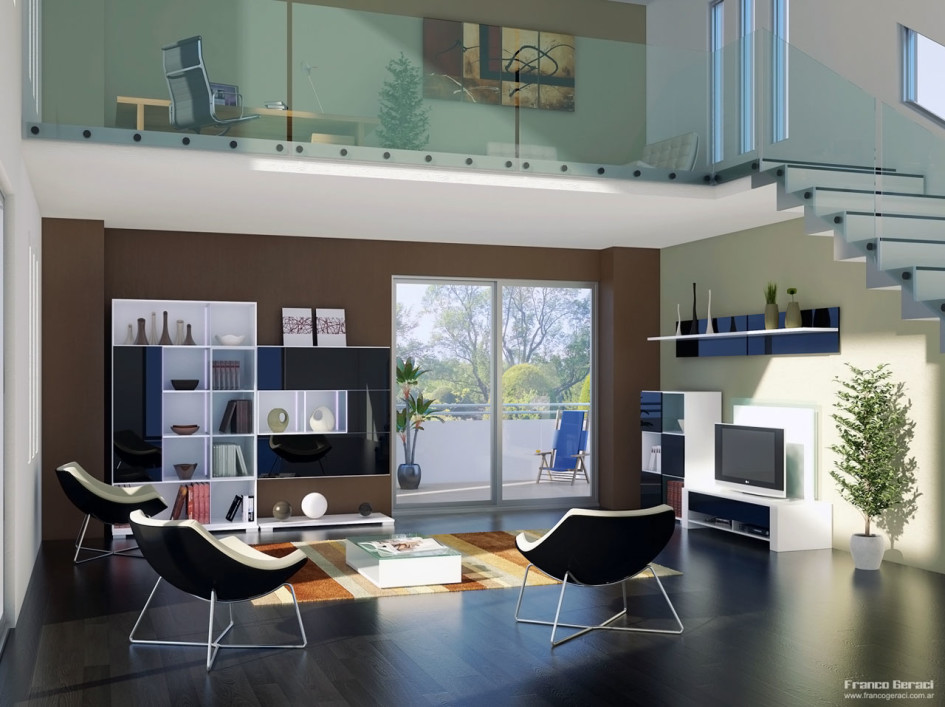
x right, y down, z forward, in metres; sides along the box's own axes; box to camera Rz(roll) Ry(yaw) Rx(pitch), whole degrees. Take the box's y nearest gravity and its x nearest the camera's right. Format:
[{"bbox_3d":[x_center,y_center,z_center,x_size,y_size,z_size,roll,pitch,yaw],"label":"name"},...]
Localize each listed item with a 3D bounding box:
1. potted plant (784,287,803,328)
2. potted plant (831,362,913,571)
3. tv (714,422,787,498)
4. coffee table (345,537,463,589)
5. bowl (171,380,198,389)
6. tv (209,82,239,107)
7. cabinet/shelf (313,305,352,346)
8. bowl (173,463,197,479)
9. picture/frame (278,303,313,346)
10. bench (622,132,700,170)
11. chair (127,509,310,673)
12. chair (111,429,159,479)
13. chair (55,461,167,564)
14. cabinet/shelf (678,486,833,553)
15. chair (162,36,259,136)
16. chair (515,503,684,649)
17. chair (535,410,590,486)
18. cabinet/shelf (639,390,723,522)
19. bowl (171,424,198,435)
[{"bbox_3d":[3.516,-0.498,8.980,0.172,0.442,0.451,-1,4,21],"label":"potted plant"},{"bbox_3d":[3.925,1.111,8.158,0.677,1.967,0.731,-3,4,-10],"label":"potted plant"},{"bbox_3d":[3.129,1.215,9.110,0.077,0.631,0.780,4,-4,-34],"label":"tv"},{"bbox_3d":[-0.639,1.915,7.522,1.081,0.375,0.696,-3,3,4],"label":"coffee table"},{"bbox_3d":[-3.382,0.372,9.638,0.301,0.144,0.285,-3,3,0],"label":"bowl"},{"bbox_3d":[-2.274,-2.367,7.488,0.239,0.265,0.250,1,0,-24],"label":"tv"},{"bbox_3d":[-1.781,-0.348,10.242,0.420,0.668,0.210,2,-12,-20],"label":"cabinet/shelf"},{"bbox_3d":[-3.386,1.395,9.676,0.176,0.125,0.190,0,-1,0],"label":"bowl"},{"bbox_3d":[-2.205,-0.330,10.116,0.449,0.708,0.070,3,-13,-22],"label":"picture/frame"},{"bbox_3d":[2.026,-2.092,8.483,0.645,0.395,0.288,-4,4,-18],"label":"bench"},{"bbox_3d":[-1.865,1.559,6.148,1.128,1.084,1.060,1,0,-44],"label":"chair"},{"bbox_3d":[-3.771,1.141,9.183,0.466,0.484,0.469,-1,3,-4],"label":"chair"},{"bbox_3d":[-3.679,1.505,8.477,1.024,1.034,1.044,2,-2,-19],"label":"chair"},{"bbox_3d":[3.110,1.831,9.055,0.693,0.529,1.541,-6,4,-39],"label":"cabinet/shelf"},{"bbox_3d":[-2.486,-2.426,7.587,0.542,0.758,0.661,0,6,31],"label":"chair"},{"bbox_3d":[0.883,1.651,6.479,0.986,0.907,1.085,2,-6,-21],"label":"chair"},{"bbox_3d":[1.411,1.322,11.396,0.833,1.365,0.889,-1,-6,19],"label":"chair"},{"bbox_3d":[2.525,1.226,9.719,0.577,2.092,1.347,1,-4,-9],"label":"cabinet/shelf"},{"bbox_3d":[-3.388,0.911,9.668,0.316,0.139,0.281,-5,3,-23],"label":"bowl"}]
